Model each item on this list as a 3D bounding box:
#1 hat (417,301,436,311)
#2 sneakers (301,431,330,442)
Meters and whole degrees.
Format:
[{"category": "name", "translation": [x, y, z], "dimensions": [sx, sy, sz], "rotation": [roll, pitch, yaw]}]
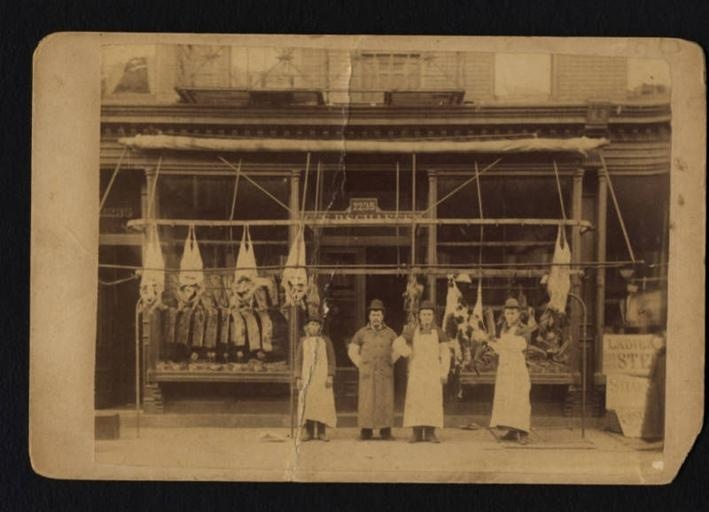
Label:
[{"category": "hat", "translation": [0.810, 0.551, 19.294], "dimensions": [0.114, 0.098, 0.111], "rotation": [0, -1, -15]}, {"category": "sneakers", "translation": [-0.425, 1.973, 19.125], "dimensions": [0.325, 0.119, 0.106], "rotation": [-3, 1, 3]}]
